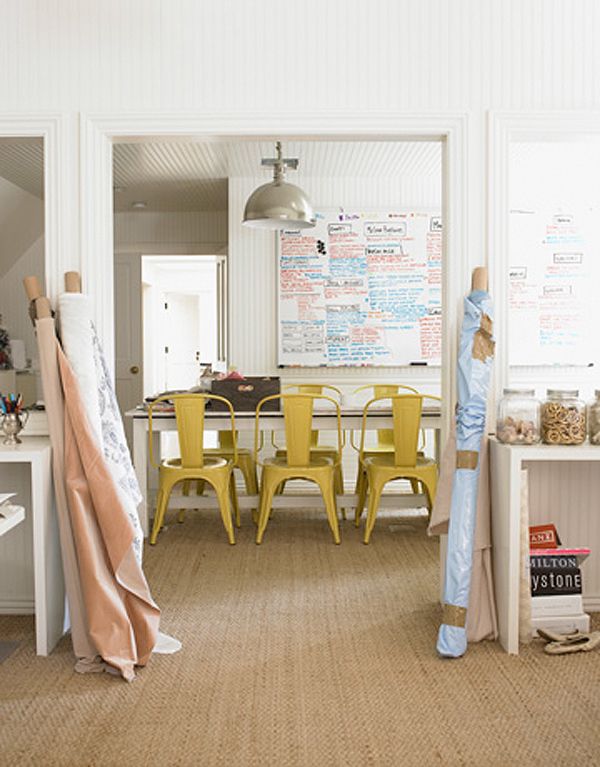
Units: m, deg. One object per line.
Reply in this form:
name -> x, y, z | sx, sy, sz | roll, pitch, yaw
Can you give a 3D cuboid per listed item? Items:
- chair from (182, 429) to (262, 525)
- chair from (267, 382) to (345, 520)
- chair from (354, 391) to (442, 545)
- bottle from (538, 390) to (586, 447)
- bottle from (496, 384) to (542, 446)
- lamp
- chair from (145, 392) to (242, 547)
chair -> -0.448, 0.478, 4.070 | 0.334, 0.467, 0.344 | 6, -7, -9
chair -> 0.049, 0.383, 4.088 | 0.451, 0.706, 0.444 | -6, 5, -19
chair -> 0.493, 0.429, 3.624 | 0.409, 0.714, 0.453 | -12, -16, 29
bottle -> 0.908, 0.107, 2.264 | 0.157, 0.190, 0.139 | 0, 6, 23
bottle -> 0.740, 0.112, 2.207 | 0.159, 0.246, 0.166 | 0, -2, 0
lamp -> -0.103, -0.961, 3.240 | 0.351, 0.362, 0.357 | 0, 2, -34
chair -> -0.545, 0.397, 3.560 | 0.489, 0.751, 0.485 | 1, 5, 19
